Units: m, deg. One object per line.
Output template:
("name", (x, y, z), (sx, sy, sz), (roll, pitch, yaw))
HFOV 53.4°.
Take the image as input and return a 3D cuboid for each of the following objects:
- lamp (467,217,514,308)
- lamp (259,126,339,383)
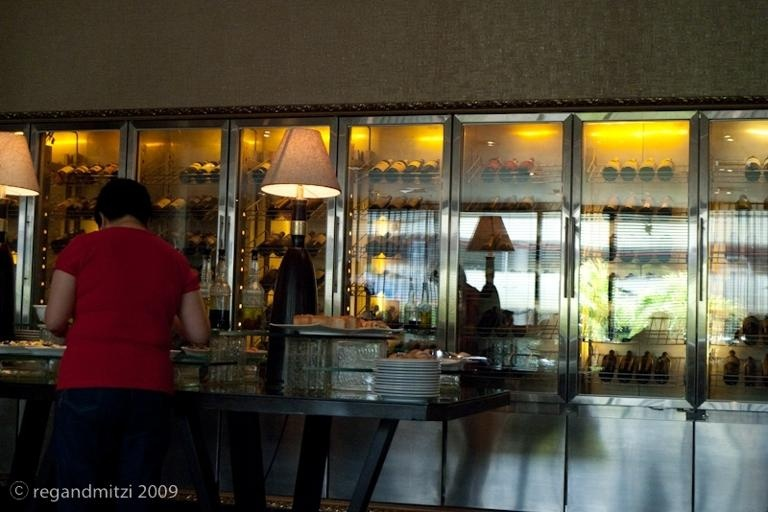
("lamp", (0.765, 0.048, 5.493), (0.408, 0.675, 0.377), (3, -6, -3))
("lamp", (-0.437, -0.027, 3.998), (0.409, 1.316, 0.627), (3, -3, -9))
